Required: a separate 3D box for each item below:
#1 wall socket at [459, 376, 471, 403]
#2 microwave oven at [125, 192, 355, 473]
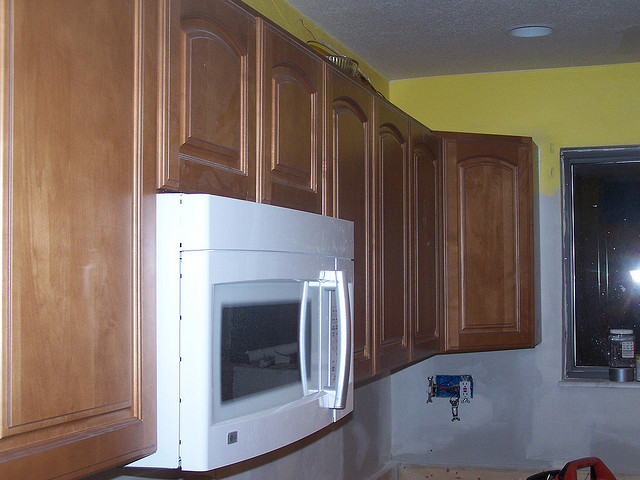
[{"bbox_3d":[0.792,0.818,2.960,0.070,0.119,0.028,0,-4,12],"label":"wall socket"},{"bbox_3d":[-0.144,0.204,1.327,0.167,0.588,0.580,-4,-4,42],"label":"microwave oven"}]
